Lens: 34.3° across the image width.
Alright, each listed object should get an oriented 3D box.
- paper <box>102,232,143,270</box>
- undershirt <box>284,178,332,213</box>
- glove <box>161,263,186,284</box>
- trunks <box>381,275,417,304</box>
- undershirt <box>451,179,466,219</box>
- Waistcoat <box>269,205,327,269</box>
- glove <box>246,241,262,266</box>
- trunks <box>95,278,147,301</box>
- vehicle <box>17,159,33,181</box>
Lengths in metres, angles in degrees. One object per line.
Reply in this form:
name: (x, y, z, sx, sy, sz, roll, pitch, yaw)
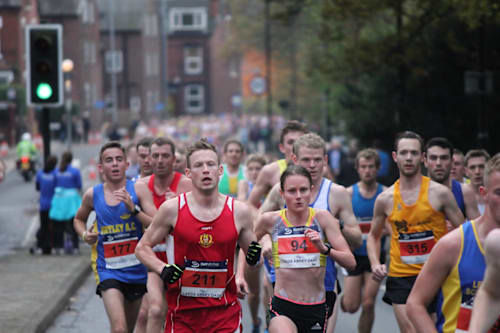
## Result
paper: (-1.977, 1.313, 12.400, 0.429, 0.499, 0.068, -7, 1, -8)
undershirt: (0.858, 0.449, 12.370, 0.496, 0.818, 0.397, 11, -2, 3)
glove: (-1.037, 1.498, 11.158, 0.277, 0.312, 0.395, 3, 8, 29)
trunks: (2.245, 1.858, 12.137, 0.392, 0.530, 0.302, 15, -27, 22)
undershirt: (3.260, 0.524, 12.774, 0.208, 0.578, 0.319, -2, 6, -10)
Waistcoat: (0.650, 1.055, 11.772, 0.665, 0.902, 0.460, 1, -11, -12)
glove: (0.049, 1.214, 11.320, 0.194, 0.349, 0.122, 4, -2, 0)
trunks: (-1.975, 1.905, 12.514, 0.538, 0.359, 0.384, 0, -5, -11)
vehicle: (-3.854, -0.010, 13.910, 0.238, 0.371, 0.607, -4, 18, -14)
